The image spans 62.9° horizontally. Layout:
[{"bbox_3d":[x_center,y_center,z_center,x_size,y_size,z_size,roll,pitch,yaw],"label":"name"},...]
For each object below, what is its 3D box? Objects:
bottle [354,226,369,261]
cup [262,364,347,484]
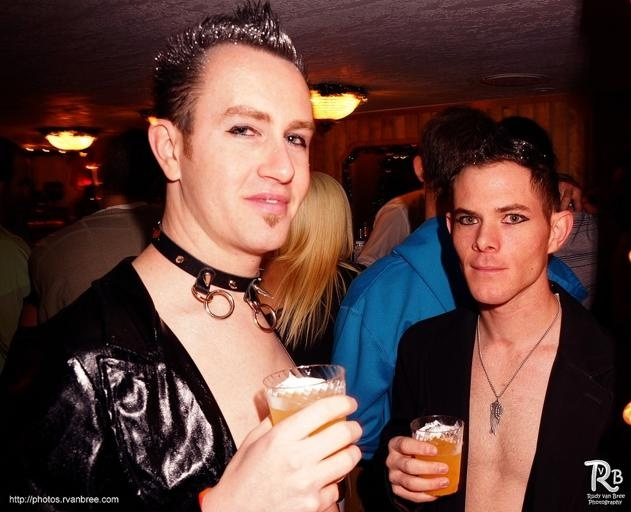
[{"bbox_3d":[0.808,-0.189,8.748,0.237,0.586,0.449,14,14,12],"label":"bottle"},{"bbox_3d":[-0.026,0.371,1.382,0.179,0.137,0.227,1,6,27],"label":"cup"}]
